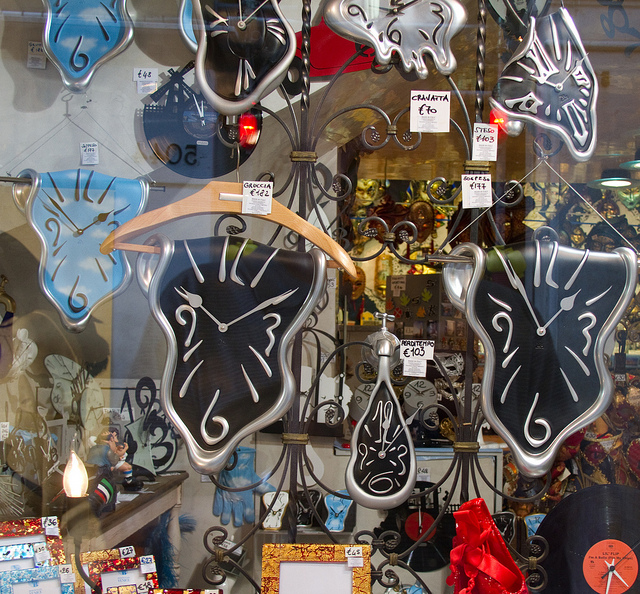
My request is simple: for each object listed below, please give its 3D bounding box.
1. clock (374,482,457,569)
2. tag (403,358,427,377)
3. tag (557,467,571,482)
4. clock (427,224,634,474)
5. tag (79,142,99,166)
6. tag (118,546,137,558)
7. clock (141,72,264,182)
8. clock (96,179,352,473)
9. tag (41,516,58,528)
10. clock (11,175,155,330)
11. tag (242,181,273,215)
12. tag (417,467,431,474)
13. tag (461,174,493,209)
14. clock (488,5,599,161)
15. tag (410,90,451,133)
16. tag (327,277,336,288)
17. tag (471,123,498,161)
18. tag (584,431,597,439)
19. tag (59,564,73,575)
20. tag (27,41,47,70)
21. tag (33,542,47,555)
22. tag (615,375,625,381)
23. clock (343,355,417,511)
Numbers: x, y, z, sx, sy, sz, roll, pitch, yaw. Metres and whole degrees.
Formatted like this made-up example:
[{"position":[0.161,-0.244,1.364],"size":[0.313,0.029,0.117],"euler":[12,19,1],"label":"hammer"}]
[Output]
[{"position":[0.321,0.749,2.447],"size":[0.291,0.349,0.053],"euler":[-3,20,14],"label":"clock"},{"position":[0.271,0.204,2.198],"size":[0.045,0.046,0.007],"euler":[1,-7,2],"label":"tag"},{"position":[0.757,0.558,2.357],"size":[0.038,0.040,0.004],"euler":[-2,2,18],"label":"tag"},{"position":[0.620,0.134,2.204],"size":[0.640,0.766,0.102],"euler":[0,-4,4],"label":"clock"},{"position":[-0.717,-0.450,2.348],"size":[0.061,0.093,0.010],"euler":[-1,-12,-2],"label":"tag"},{"position":[-0.563,0.747,2.200],"size":[0.052,0.021,0.052],"euler":[-4,2,-19],"label":"tag"},{"position":[-0.389,-0.519,2.373],"size":[0.322,0.389,0.088],"euler":[1,1,10],"label":"clock"},{"position":[-0.299,0.061,2.228],"size":[0.756,0.880,0.099],"euler":[2,-7,-3],"label":"clock"},{"position":[-0.772,0.648,2.155],"size":[0.040,0.032,0.024],"euler":[1,-17,-10],"label":"tag"},{"position":[-0.730,-0.133,2.322],"size":[0.386,0.532,0.083],"euler":[1,-19,-13],"label":"clock"},{"position":[-0.181,-0.282,2.144],"size":[0.079,0.096,0.012],"euler":[-1,0,2],"label":"tag"},{"position":[0.315,0.540,2.336],"size":[0.052,0.036,0.006],"euler":[1,1,-24],"label":"tag"},{"position":[0.460,-0.319,2.238],"size":[0.081,0.098,0.008],"euler":[1,-1,-6],"label":"tag"},{"position":[0.649,-0.648,2.240],"size":[0.316,0.493,0.138],"euler":[-11,9,-16],"label":"clock"},{"position":[0.322,-0.558,2.238],"size":[0.095,0.108,0.012],"euler":[4,-2,-2],"label":"tag"},{"position":[0.034,-0.046,2.387],"size":[0.025,0.031,0.012],"euler":[0,8,-21],"label":"tag"},{"position":[0.481,-0.470,2.246],"size":[0.095,0.156,0.015],"euler":[0,5,-3],"label":"tag"},{"position":[0.840,0.431,2.345],"size":[0.021,0.015,0.023],"euler":[9,-11,-11],"label":"tag"},{"position":[-0.717,0.772,2.121],"size":[0.023,0.026,0.003],"euler":[0,-12,-10],"label":"tag"},{"position":[-0.881,-0.766,2.353],"size":[0.071,0.117,0.011],"euler":[0,1,4],"label":"tag"},{"position":[-0.793,0.716,2.132],"size":[0.026,0.025,0.004],"euler":[-16,-17,-31],"label":"tag"},{"position":[0.912,0.249,2.311],"size":[0.018,0.020,0.005],"euler":[3,0,-2],"label":"tag"},{"position":[0.170,0.380,2.129],"size":[0.209,0.551,0.073],"euler":[3,28,9],"label":"clock"}]
